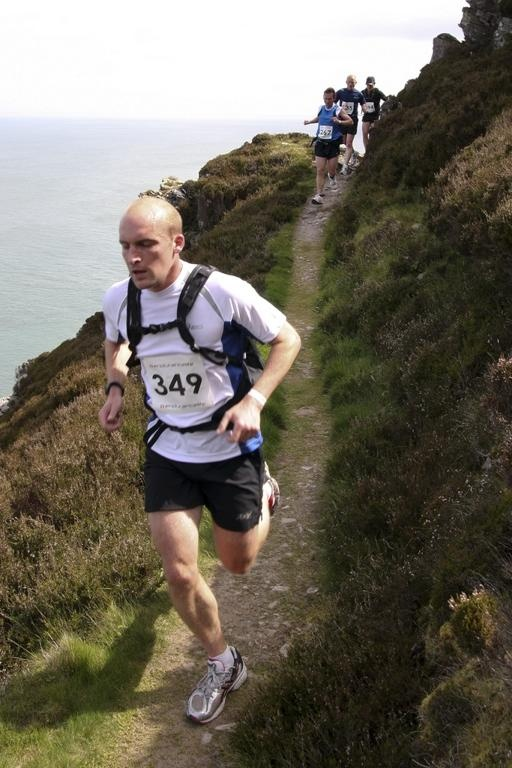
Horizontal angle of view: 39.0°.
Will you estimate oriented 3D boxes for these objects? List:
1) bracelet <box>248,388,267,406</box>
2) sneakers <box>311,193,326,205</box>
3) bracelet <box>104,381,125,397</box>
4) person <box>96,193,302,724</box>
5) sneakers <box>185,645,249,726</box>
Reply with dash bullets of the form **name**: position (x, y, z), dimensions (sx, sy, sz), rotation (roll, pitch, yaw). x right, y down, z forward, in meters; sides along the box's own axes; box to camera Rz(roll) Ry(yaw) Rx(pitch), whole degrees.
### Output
- **bracelet**: position (0.018, 0.076, 3.690), dimensions (0.038, 0.095, 0.069), rotation (-44, 4, -4)
- **sneakers**: position (1.549, -4.630, 18.065), dimensions (0.204, 0.252, 0.555), rotation (26, -1, 4)
- **bracelet**: position (-0.845, 0.044, 4.393), dimensions (0.121, 0.106, 0.081), rotation (7, 38, -4)
- **person**: position (-0.282, 0.483, 3.974), dimensions (0.962, 2.816, 0.856), rotation (3, 20, 3)
- **sneakers**: position (-0.196, 1.709, 4.251), dimensions (0.194, 0.254, 0.525), rotation (-1, 20, 29)
